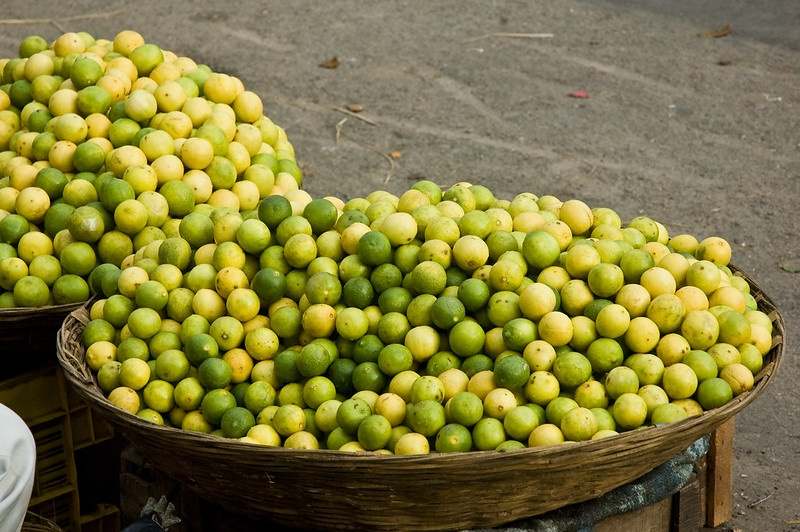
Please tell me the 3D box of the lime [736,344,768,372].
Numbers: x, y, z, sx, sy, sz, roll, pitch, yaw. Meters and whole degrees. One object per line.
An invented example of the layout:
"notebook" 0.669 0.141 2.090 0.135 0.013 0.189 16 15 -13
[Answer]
"lime" 1.746 0.447 4.264 0.126 0.154 0.126 -20 9 -35

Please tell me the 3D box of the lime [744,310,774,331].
"lime" 1.836 0.273 4.373 0.105 0.135 0.109 -7 7 31
